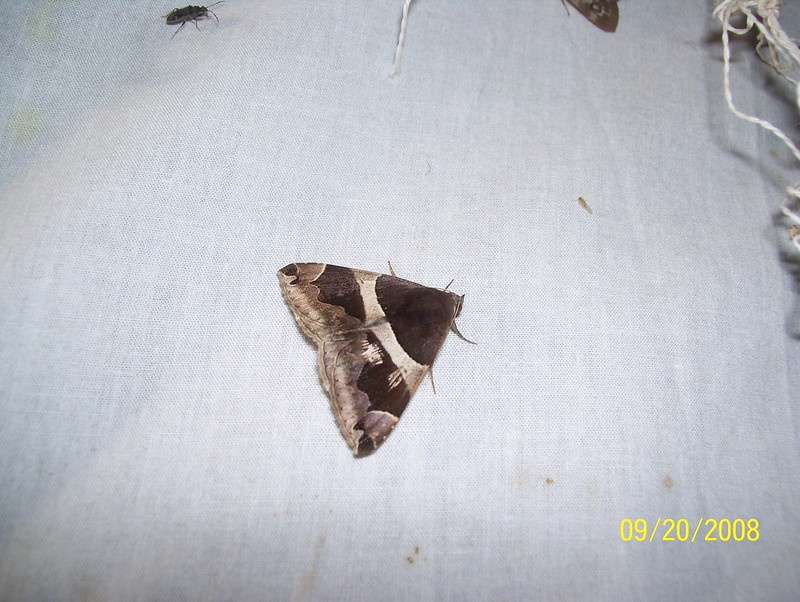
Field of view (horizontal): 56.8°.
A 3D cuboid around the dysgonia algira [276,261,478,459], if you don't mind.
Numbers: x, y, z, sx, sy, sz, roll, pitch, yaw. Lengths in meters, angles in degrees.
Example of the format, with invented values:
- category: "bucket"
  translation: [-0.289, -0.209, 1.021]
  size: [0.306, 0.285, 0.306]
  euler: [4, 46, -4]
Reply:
- category: "dysgonia algira"
  translation: [-0.053, 0.069, 1.562]
  size: [0.300, 0.264, 0.370]
  euler: [-27, -63, 23]
